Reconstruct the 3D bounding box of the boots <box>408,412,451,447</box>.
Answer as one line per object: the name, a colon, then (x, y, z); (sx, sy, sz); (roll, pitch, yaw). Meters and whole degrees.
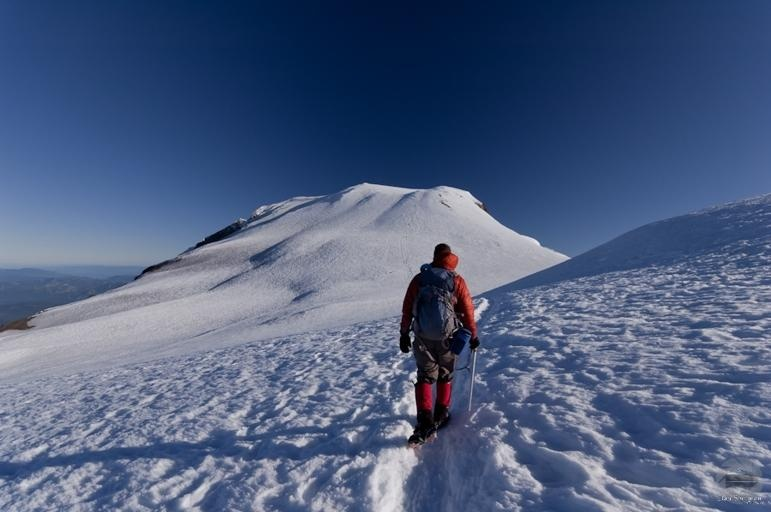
boots: (1.171, 4.763, 14.515); (1.555, 0.561, 0.461); (-14, -31, -33)
